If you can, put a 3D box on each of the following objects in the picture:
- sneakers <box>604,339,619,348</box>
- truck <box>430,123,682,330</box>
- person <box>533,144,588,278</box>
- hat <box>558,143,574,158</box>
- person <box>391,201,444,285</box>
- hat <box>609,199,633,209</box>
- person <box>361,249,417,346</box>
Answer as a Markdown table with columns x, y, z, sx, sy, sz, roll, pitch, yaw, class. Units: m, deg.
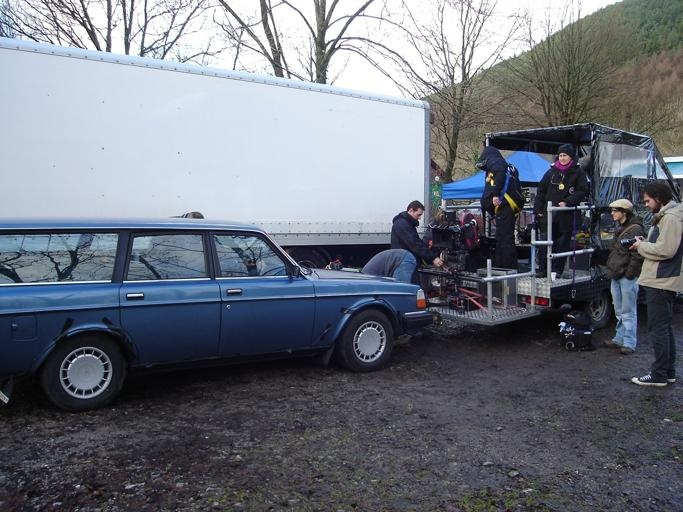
| x | y | z | sx | sy | sz | roll | pitch | yaw | class |
| --- | --- | --- | --- | --- | --- | --- | --- | --- | --- |
| 4.040 | 1.308 | 6.694 | 0.190 | 0.086 | 0.093 | 16 | 26 | 28 | sneakers |
| 3.776 | -0.782 | 8.999 | 6.130 | 3.481 | 3.149 | -7 | 10 | -35 | truck |
| 3.601 | -0.782 | 7.347 | 0.821 | 2.157 | 1.028 | 3 | 6 | 24 | person |
| 3.840 | -1.743 | 7.582 | 0.220 | 0.293 | 0.300 | -4 | -8 | 38 | hat |
| 1.172 | -0.171 | 7.550 | 0.731 | 1.757 | 0.724 | -1 | 38 | 1 | person |
| 4.035 | -0.743 | 6.435 | 0.311 | 0.129 | 0.249 | 9 | 8 | 27 | hat |
| 0.781 | 0.306 | 6.898 | 0.736 | 1.059 | 0.539 | 3 | 0 | 40 | person |
